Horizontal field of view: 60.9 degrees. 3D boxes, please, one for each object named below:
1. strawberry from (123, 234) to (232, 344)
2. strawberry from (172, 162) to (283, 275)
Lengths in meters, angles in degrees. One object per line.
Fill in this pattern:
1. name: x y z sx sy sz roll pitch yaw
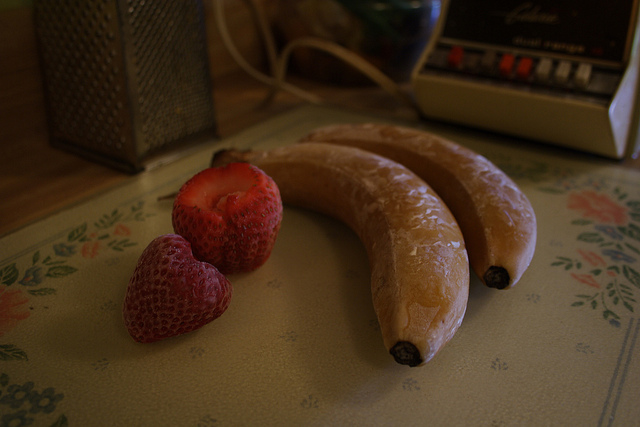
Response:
1. strawberry: -0.236 0.135 0.942 0.167 0.169 0.156 -44 93 -16
2. strawberry: -0.166 0.020 0.999 0.199 0.167 0.193 -27 40 -35
